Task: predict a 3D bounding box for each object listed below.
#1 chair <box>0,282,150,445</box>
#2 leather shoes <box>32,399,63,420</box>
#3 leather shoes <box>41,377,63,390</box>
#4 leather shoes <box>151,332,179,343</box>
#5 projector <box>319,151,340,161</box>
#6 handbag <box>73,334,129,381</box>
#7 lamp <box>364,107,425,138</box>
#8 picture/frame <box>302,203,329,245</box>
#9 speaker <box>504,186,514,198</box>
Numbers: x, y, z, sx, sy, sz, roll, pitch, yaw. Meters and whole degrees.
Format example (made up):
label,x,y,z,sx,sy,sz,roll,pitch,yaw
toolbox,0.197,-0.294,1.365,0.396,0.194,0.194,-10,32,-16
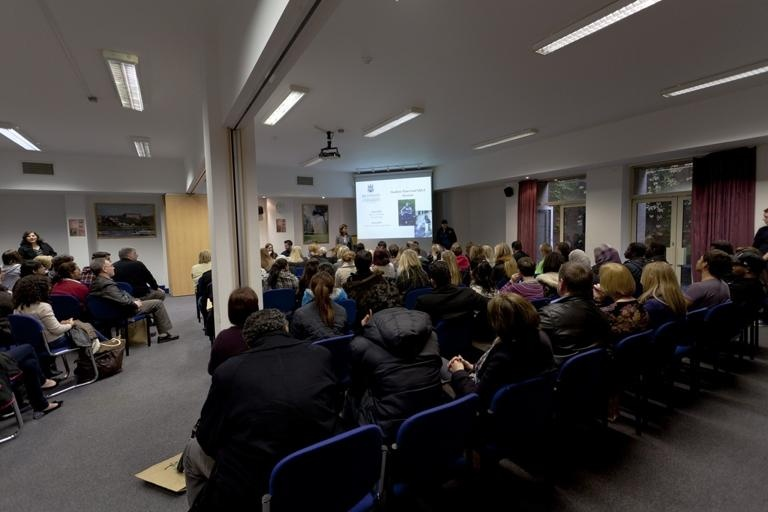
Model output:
label,x,y,z,sx,sy,sz,roll,pitch,yaw
chair,-4.145,0.878,6.073,1.230,1.632,1.296,1,3,42
leather shoes,-3.881,1.747,5.216,0.099,0.106,0.283,5,10,30
leather shoes,-4.142,1.566,5.662,0.224,0.156,0.073,-8,20,-41
leather shoes,-3.433,1.264,7.138,0.343,0.150,0.137,-3,4,-31
projector,-1.137,-2.055,9.267,0.469,0.234,0.365,7,13,38
handbag,-3.678,1.333,5.956,0.441,0.578,0.591,9,27,40
lamp,0.166,-2.384,8.191,0.581,0.146,1.681,-5,4,-29
picture/frame,-1.983,-0.915,12.742,1.177,1.572,0.102,-3,2,-44
speaker,3.109,-1.583,11.358,0.229,0.258,0.269,-4,-3,13
